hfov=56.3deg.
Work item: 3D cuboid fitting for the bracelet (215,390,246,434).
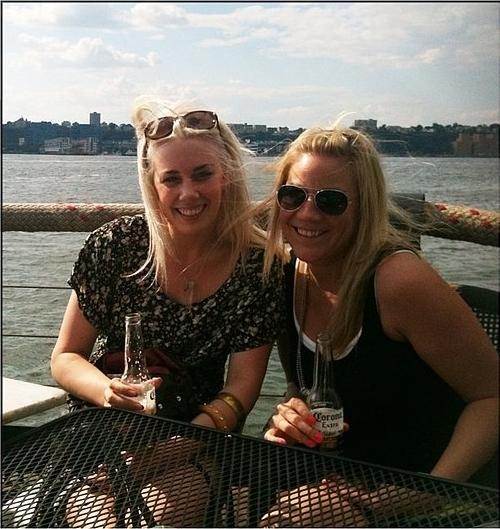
[{"bbox_3d":[-0.092,0.588,1.866,0.126,0.046,0.139,34,16,-20],"label":"bracelet"}]

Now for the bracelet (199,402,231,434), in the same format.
[{"bbox_3d":[-0.129,0.554,1.681,0.148,0.055,0.133,43,-10,4],"label":"bracelet"}]

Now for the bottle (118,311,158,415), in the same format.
[{"bbox_3d":[-0.396,0.337,1.606,0.108,0.368,0.187,-6,14,-14],"label":"bottle"}]

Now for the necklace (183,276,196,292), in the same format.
[{"bbox_3d":[-0.290,0.094,2.192,0.050,0.063,0.069,0,-28,2],"label":"necklace"}]
